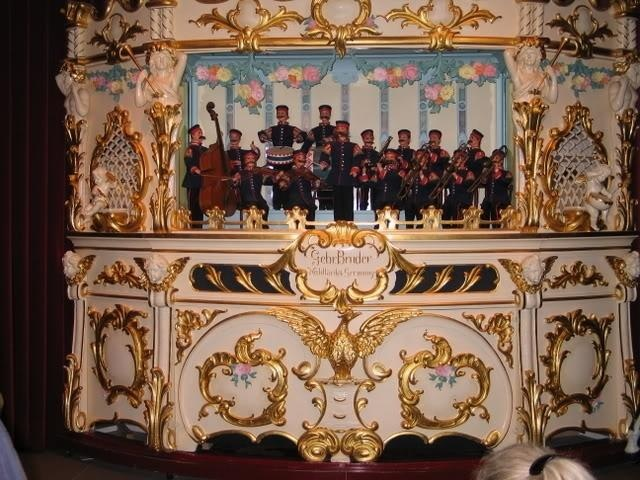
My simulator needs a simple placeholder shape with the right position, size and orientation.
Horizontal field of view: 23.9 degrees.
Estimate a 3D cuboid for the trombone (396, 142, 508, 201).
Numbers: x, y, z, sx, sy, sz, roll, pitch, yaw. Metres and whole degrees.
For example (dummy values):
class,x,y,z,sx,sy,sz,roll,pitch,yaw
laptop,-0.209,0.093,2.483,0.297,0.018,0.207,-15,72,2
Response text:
class,x,y,z,sx,sy,sz,roll,pitch,yaw
trombone,1.236,-0.548,12.535,0.406,0.738,0.199,2,-56,30
